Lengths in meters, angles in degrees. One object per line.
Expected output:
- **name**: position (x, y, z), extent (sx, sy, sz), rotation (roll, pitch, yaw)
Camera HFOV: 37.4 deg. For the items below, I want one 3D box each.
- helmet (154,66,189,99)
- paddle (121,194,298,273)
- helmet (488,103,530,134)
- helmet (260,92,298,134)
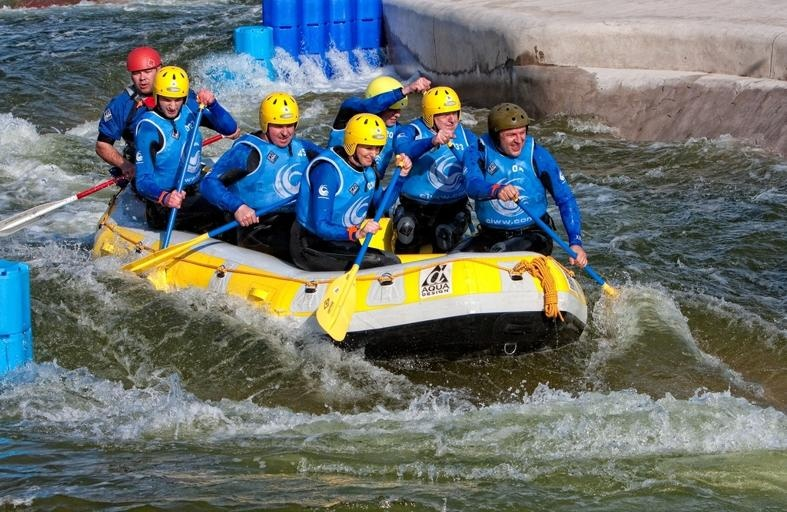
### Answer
- **helmet**: position (-2.961, -2.351, 15.537), extent (0.386, 0.486, 0.372), rotation (6, 49, -11)
- **paddle**: position (-2.351, -0.287, 15.363), extent (2.245, 0.218, 0.179), rotation (-22, 37, 1)
- **helmet**: position (1.409, -1.782, 14.640), extent (0.386, 0.303, 0.438), rotation (-23, 37, -38)
- **helmet**: position (-1.442, -1.842, 14.882), extent (0.434, 0.409, 0.512), rotation (-2, 27, -18)
